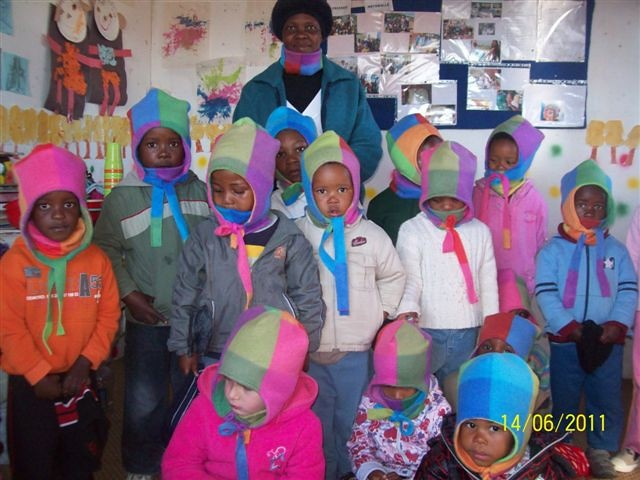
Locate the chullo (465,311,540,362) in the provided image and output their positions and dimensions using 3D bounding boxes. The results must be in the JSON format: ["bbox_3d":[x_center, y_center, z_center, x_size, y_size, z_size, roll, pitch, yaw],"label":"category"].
[{"bbox_3d":[0.856,0.469,2.681,0.191,0.199,0.255,23,-25,8],"label":"chullo"}]

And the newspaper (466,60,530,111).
[{"bbox_3d":[1.251,-1.084,3.986,0.347,0.247,0.014,2,3,0],"label":"newspaper"}]

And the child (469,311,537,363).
[{"bbox_3d":[0.857,0.447,2.690,0.198,0.193,0.248,20,-28,14],"label":"child"}]

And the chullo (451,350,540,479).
[{"bbox_3d":[0.655,0.651,2.150,0.289,0.435,0.162,4,6,16],"label":"chullo"}]

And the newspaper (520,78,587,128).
[{"bbox_3d":[1.614,-0.946,3.934,0.486,0.362,0.050,2,6,6],"label":"newspaper"}]
